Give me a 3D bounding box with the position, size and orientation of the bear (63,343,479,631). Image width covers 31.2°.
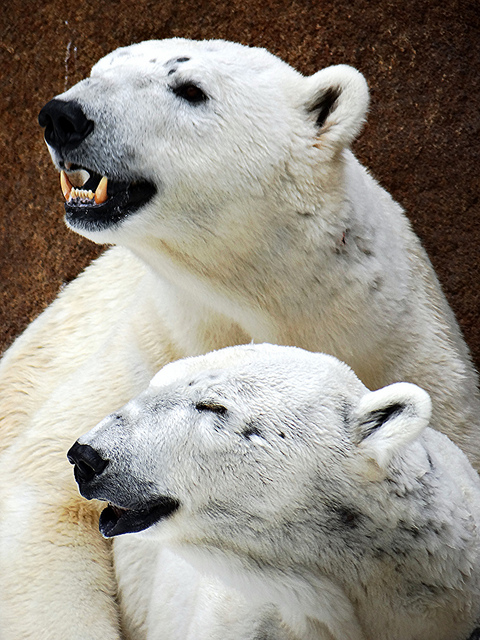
[{"bbox_3d":[0.233,0.382,1.891,1.079,0.560,0.506,1,75,-34],"label":"bear"}]

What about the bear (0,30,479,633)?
[{"bbox_3d":[-0.247,-0.110,3.169,1.440,2.042,1.346,-20,94,6],"label":"bear"}]
